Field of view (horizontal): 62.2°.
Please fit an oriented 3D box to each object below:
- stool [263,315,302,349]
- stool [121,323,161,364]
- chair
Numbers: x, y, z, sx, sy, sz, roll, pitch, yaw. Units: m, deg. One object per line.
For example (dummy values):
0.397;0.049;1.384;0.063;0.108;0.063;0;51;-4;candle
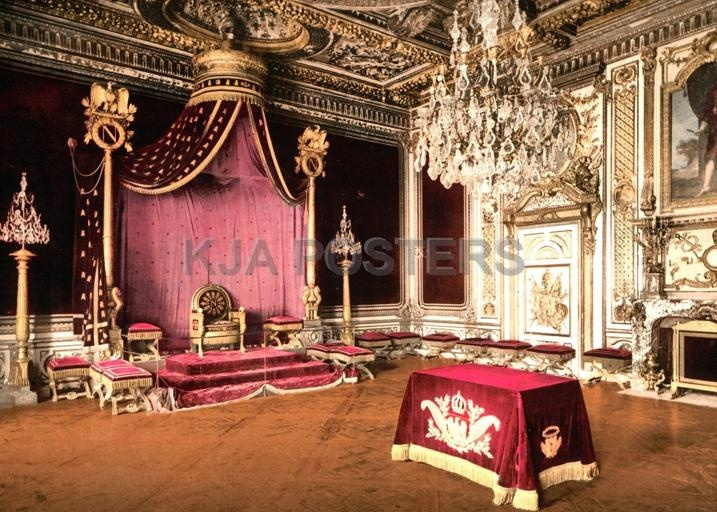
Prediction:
-1.203;1.206;9.487;0.462;0.482;0.516;1;-4;-25;stool
-3.101;1.239;8.558;0.523;0.569;0.317;-1;-2;-21;stool
-2.102;0.951;8.938;0.699;1.042;0.513;1;-2;-36;chair
